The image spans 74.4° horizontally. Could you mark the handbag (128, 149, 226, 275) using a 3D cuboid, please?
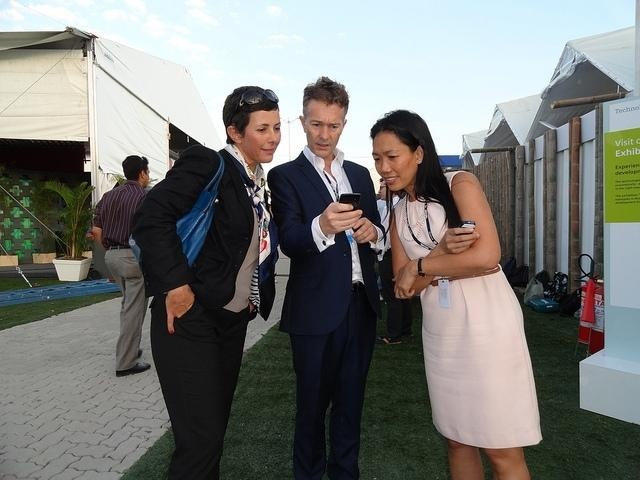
[{"bbox_3d":[-0.851,-0.023,2.732,0.510,0.953,0.615,23,-26,-36],"label":"handbag"}]

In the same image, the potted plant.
[{"bbox_3d":[-7.224,-0.239,12.201,1.427,2.664,1.616,7,9,31],"label":"potted plant"}]

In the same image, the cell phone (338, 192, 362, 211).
[{"bbox_3d":[0.179,-0.237,2.578,0.168,0.097,0.017,36,13,-37],"label":"cell phone"}]

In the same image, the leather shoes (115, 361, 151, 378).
[{"bbox_3d":[-2.204,1.479,4.926,0.328,0.135,0.118,-4,9,-32],"label":"leather shoes"}]
